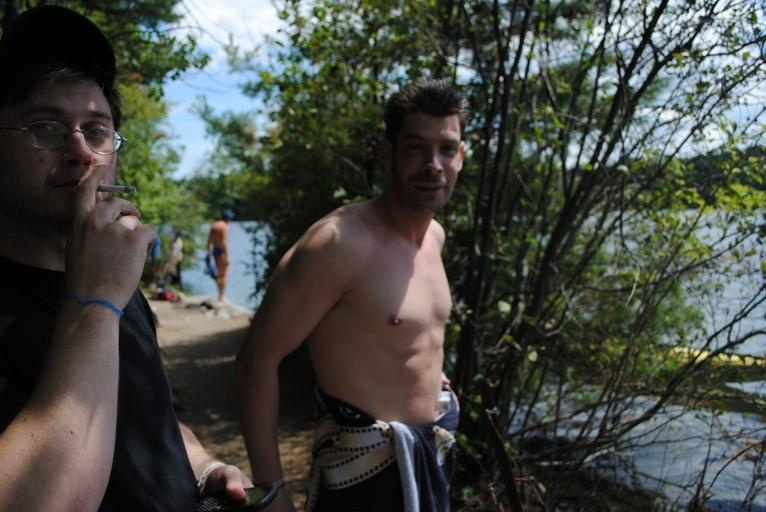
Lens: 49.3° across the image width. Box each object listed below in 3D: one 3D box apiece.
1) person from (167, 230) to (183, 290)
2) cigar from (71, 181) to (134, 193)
[{"bbox_3d":[-3.456,0.086,13.823,0.297,1.164,0.296,-10,47,-19],"label":"person"},{"bbox_3d":[-1.226,-0.312,3.668,0.284,0.052,0.041,3,-18,-13],"label":"cigar"}]
